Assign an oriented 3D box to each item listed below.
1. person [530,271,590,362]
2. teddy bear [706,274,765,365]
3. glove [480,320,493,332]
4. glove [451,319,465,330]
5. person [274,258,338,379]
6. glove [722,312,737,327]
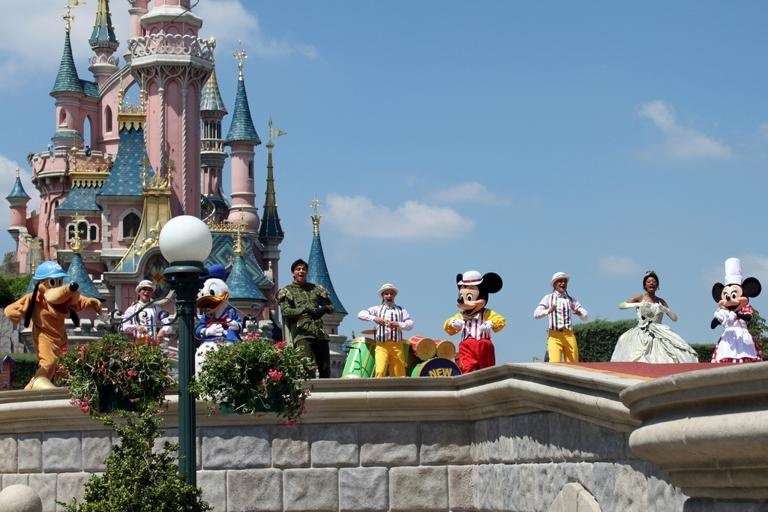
[{"bbox_3d":[4.340,1.558,54.815,1.119,2.256,0.801,-1,-11,4],"label":"person"},{"bbox_3d":[8.583,1.686,54.102,1.149,2.115,1.374,-2,-11,8],"label":"teddy bear"},{"bbox_3d":[2.500,1.746,54.148,0.235,0.269,0.249,-3,4,20],"label":"glove"},{"bbox_3d":[1.796,1.699,54.301,0.230,0.268,0.130,-2,-28,14],"label":"glove"},{"bbox_3d":[-1.827,1.659,53.420,1.376,3.114,0.968,-6,2,-22],"label":"person"},{"bbox_3d":[8.473,1.578,54.176,0.347,0.374,0.139,6,-2,11],"label":"glove"}]
